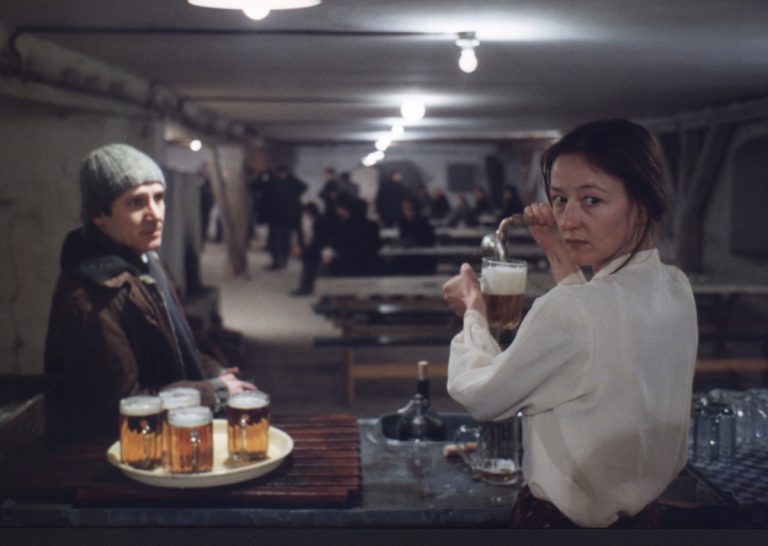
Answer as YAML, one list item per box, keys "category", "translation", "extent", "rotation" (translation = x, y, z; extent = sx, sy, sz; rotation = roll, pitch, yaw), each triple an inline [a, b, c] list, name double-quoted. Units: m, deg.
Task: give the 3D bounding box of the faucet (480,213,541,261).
- category: "faucet"
  translation: [0.375, -0.089, 2.622]
  extent: [0.146, 0.219, 0.053]
  rotation: [-3, 32, 10]

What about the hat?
- category: "hat"
  translation: [-0.842, -0.287, 2.729]
  extent: [0.267, 0.255, 0.097]
  rotation: [5, 4, 16]

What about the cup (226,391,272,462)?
- category: "cup"
  translation: [-0.381, 0.438, 2.416]
  extent: [0.112, 0.191, 0.123]
  rotation: [-1, -2, 0]

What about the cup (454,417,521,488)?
- category: "cup"
  translation: [0.321, 0.522, 2.478]
  extent: [0.210, 0.159, 0.130]
  rotation: [-5, -12, 36]

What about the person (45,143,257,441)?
- category: "person"
  translation: [-0.822, 0.165, 2.906]
  extent: [0.631, 1.162, 0.683]
  rotation: [17, 18, 41]

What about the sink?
- category: "sink"
  translation: [0.193, 0.488, 2.620]
  extent: [0.349, 0.083, 0.181]
  rotation: [0, 4, 9]

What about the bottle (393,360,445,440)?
- category: "bottle"
  translation: [0.126, 0.432, 2.742]
  extent: [0.146, 0.271, 0.175]
  rotation: [0, 3, 34]

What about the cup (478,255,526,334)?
- category: "cup"
  translation: [0.312, 0.053, 2.465]
  extent: [0.202, 0.197, 0.126]
  rotation: [-1, 13, -12]

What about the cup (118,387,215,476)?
- category: "cup"
  translation: [-0.599, 0.447, 2.341]
  extent: [0.300, 0.209, 0.168]
  rotation: [1, 1, 0]

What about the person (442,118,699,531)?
- category: "person"
  translation: [0.520, 0.153, 2.356]
  extent: [0.657, 1.160, 0.354]
  rotation: [5, 4, 18]
